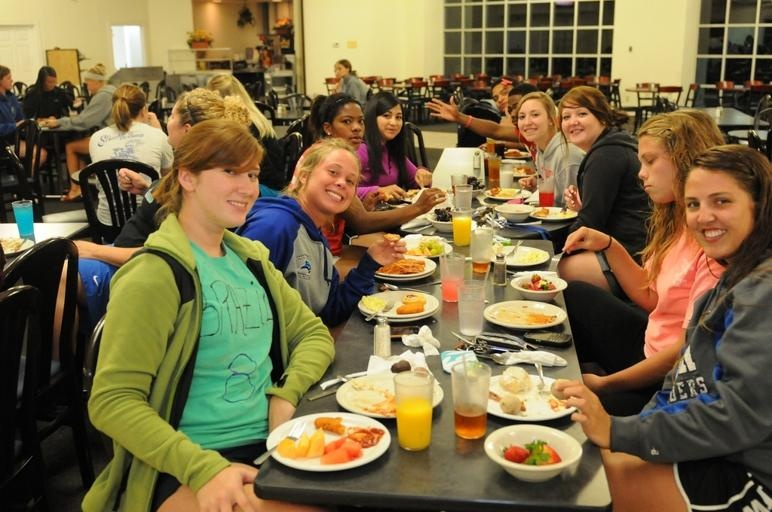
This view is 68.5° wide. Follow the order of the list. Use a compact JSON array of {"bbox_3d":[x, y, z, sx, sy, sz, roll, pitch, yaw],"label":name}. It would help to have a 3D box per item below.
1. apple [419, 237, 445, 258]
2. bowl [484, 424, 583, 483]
[{"bbox_3d":[0.231,-0.049,2.764,0.100,0.039,0.096,-11,26,-27],"label":"apple"},{"bbox_3d":[0.364,0.514,1.415,0.251,0.053,0.241,1,19,0],"label":"bowl"}]
